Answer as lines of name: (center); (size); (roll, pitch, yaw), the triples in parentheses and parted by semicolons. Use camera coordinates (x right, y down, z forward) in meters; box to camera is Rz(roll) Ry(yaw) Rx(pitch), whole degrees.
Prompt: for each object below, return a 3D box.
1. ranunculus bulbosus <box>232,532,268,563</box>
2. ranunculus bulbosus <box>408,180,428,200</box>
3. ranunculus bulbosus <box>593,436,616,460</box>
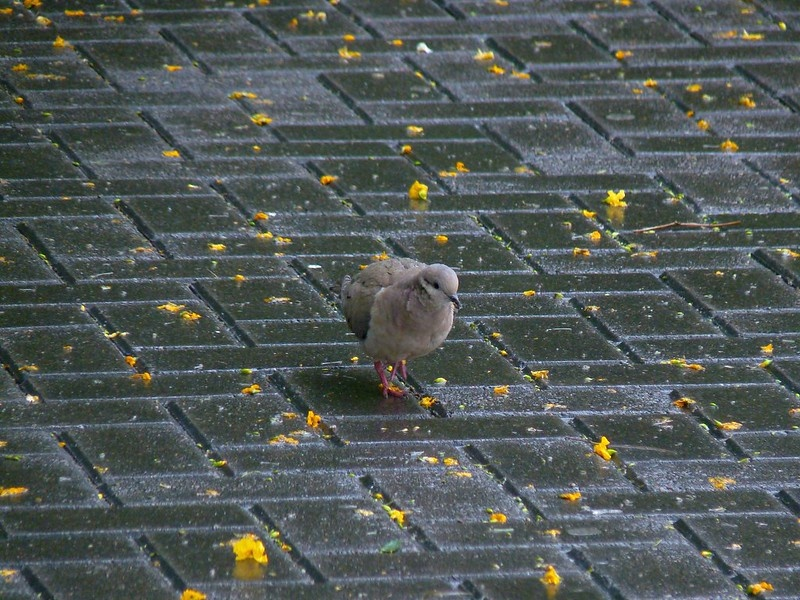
ranunculus bulbosus: (-0.804, 1.285, 9.103); (0.179, 0.062, 0.151); (6, 31, -11)
ranunculus bulbosus: (0.110, -0.753, 11.674); (0.142, 0.044, 0.126); (3, 38, 20)
ranunculus bulbosus: (1.151, 0.836, 9.786); (0.127, 0.055, 0.135); (49, 45, 4)
